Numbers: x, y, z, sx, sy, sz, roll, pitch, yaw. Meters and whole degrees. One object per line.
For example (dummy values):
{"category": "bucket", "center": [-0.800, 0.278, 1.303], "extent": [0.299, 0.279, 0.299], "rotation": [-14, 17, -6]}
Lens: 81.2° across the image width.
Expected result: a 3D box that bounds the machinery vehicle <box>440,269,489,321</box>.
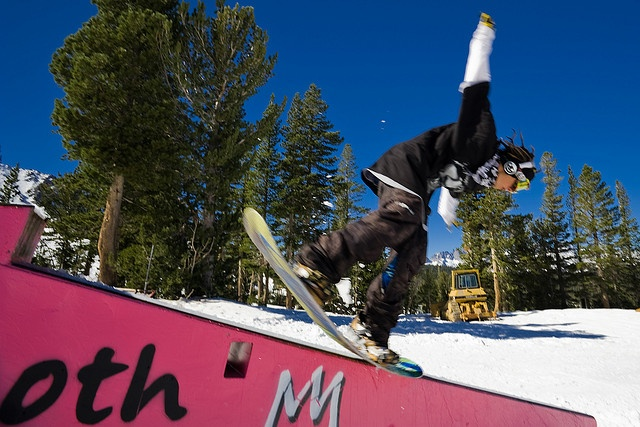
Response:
{"category": "machinery vehicle", "center": [7.083, 4.028, 17.879], "extent": [1.220, 2.082, 4.080], "rotation": [5, -18, 2]}
